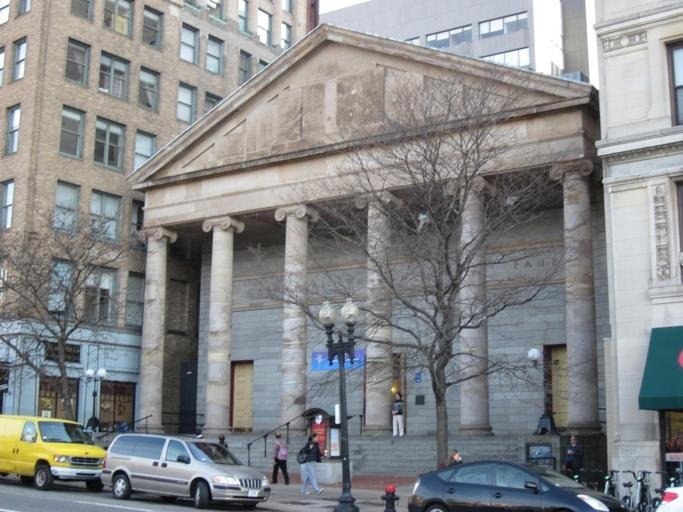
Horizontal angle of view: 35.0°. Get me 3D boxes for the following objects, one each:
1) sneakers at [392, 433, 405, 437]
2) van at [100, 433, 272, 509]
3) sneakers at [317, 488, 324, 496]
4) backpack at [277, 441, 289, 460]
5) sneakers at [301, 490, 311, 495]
[{"bbox_3d":[2.577,8.129,48.939,0.606,0.219,0.181,-3,-8,9],"label":"sneakers"},{"bbox_3d":[-5.305,7.457,37.556,5.021,1.742,2.625,-6,-17,28],"label":"van"},{"bbox_3d":[-0.773,8.808,40.231,0.173,0.208,0.512,-3,-16,-4],"label":"sneakers"},{"bbox_3d":[-2.325,7.655,42.455,0.342,0.747,0.641,-2,-13,-8],"label":"backpack"},{"bbox_3d":[-1.325,8.811,40.195,0.389,0.236,0.135,-2,-5,12],"label":"sneakers"}]
